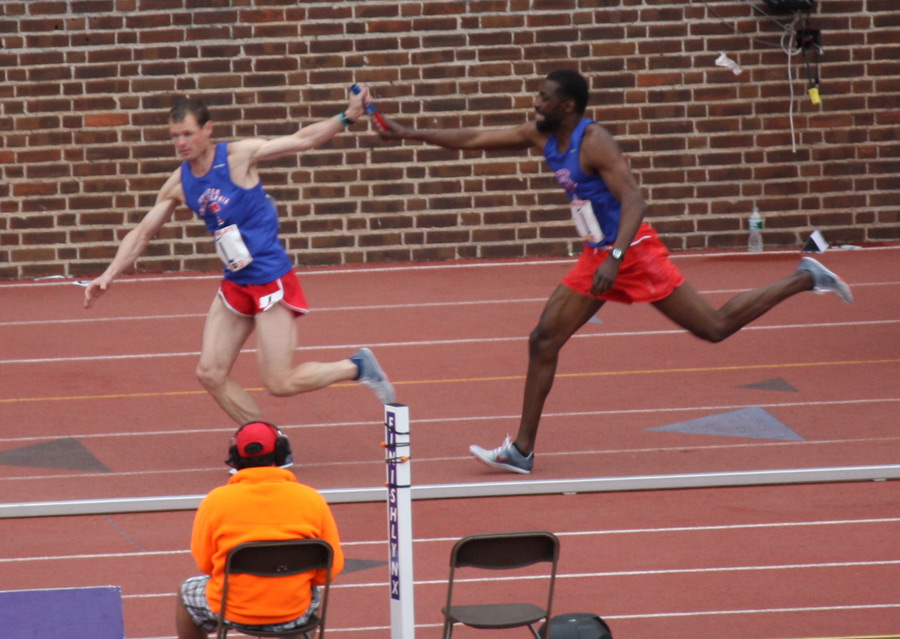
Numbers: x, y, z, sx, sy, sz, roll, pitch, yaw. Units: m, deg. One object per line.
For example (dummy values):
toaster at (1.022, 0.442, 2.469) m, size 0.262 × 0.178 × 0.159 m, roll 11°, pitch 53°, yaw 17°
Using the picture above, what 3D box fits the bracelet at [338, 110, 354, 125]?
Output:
bracelet at (-0.778, -1.505, 12.747) m, size 0.087 × 0.066 × 0.109 m, roll 38°, pitch 7°, yaw -34°

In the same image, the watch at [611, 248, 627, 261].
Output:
watch at (1.199, -0.467, 12.215) m, size 0.106 × 0.088 × 0.050 m, roll 7°, pitch 13°, yaw 4°
